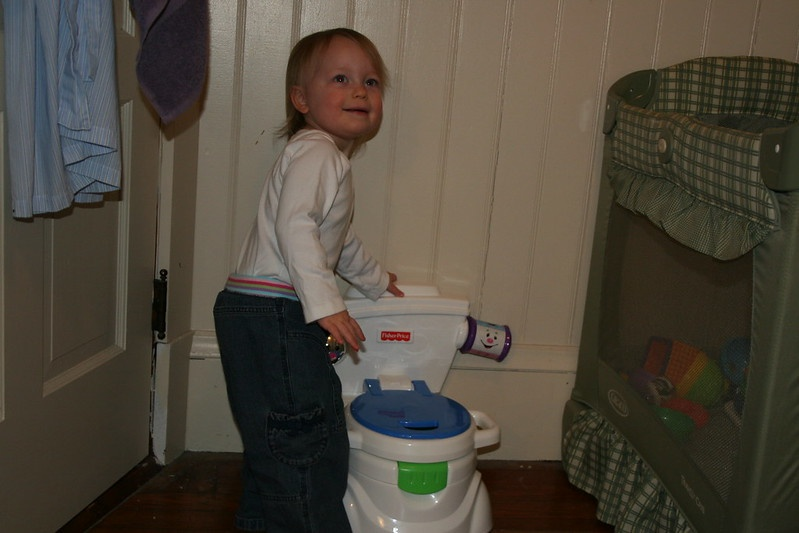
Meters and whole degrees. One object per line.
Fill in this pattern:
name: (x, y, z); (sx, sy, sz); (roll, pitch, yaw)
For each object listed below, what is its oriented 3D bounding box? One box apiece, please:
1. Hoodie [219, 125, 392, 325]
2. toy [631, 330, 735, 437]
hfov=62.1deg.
Hoodie: (-0.194, -0.115, 1.822); (0.396, 0.499, 0.605); (7, 1, 9)
toy: (0.786, 0.240, 1.754); (0.253, 0.075, 0.234); (-27, 22, -20)
